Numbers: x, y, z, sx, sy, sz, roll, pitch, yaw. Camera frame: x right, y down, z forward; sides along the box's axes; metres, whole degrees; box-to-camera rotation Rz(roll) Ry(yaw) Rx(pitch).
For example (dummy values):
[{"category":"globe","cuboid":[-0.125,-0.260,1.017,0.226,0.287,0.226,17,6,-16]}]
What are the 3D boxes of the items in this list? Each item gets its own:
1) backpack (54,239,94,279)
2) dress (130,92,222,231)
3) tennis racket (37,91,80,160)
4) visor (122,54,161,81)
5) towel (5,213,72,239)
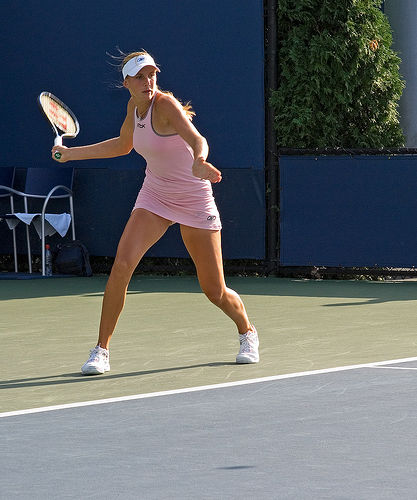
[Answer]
[{"category":"backpack","cuboid":[-2.486,0.152,9.889,0.730,0.607,0.402,-7,-7,19]},{"category":"dress","cuboid":[-0.188,-0.582,3.536,0.516,0.840,0.450,5,14,10]},{"category":"tennis racket","cuboid":[-1.426,-1.150,5.009,0.127,0.574,1.437,-42,24,9]},{"category":"visor","cuboid":[-0.423,-1.140,3.408,0.215,0.183,0.205,-1,2,-14]},{"category":"towel","cuboid":[-2.966,-0.467,9.682,1.011,0.488,0.659,6,9,17]}]
